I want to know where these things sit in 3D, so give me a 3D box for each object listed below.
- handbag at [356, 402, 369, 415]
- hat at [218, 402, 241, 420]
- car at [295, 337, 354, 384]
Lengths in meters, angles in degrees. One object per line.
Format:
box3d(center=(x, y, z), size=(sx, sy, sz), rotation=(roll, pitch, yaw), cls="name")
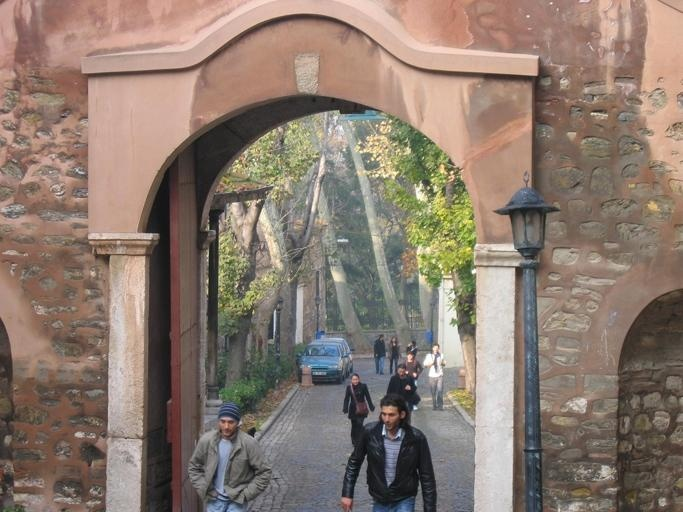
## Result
box3d(center=(0.343, 2.503, 21.066), size=(0.198, 0.188, 0.090), rotation=(0, 11, 1), cls="handbag")
box3d(center=(-1.241, 1.695, 14.068), size=(0.167, 0.177, 0.222), rotation=(4, 12, 5), cls="hat")
box3d(center=(-0.444, 2.834, 34.310), size=(1.022, 0.806, 2.200), rotation=(-1, -5, 5), cls="car")
